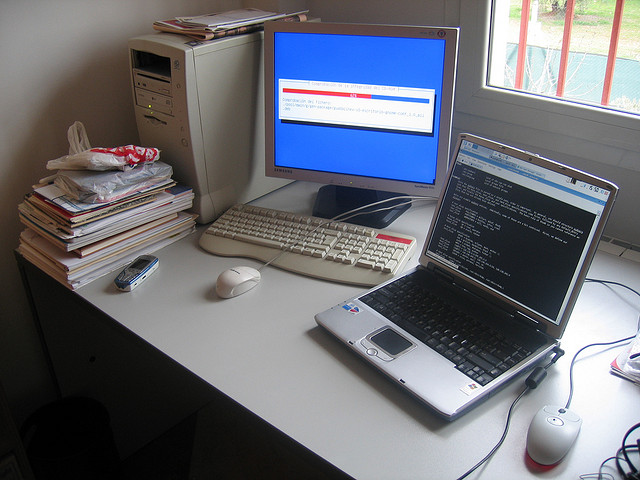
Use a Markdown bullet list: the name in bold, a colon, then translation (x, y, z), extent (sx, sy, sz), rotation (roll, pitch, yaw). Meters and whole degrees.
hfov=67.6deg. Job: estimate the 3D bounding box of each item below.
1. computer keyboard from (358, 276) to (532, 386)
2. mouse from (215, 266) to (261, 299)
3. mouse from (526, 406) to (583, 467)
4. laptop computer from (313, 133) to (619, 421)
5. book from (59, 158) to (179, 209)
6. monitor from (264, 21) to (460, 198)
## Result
- **computer keyboard**: translation (0.277, 0.192, 0.986), extent (0.157, 0.023, 0.311), rotation (-23, 40, -36)
- **mouse**: translation (-0.197, 0.097, 1.151), extent (0.064, 0.031, 0.095), rotation (31, 49, 32)
- **mouse**: translation (0.393, 0.319, 0.849), extent (0.110, 0.069, 0.125), rotation (6, 26, 18)
- **laptop computer**: translation (0.289, 0.051, 0.962), extent (0.422, 0.377, 0.391), rotation (-24, 41, -37)
- **book**: translation (-0.557, -0.146, 1.302), extent (0.221, 0.053, 0.238), rotation (0, 18, 38)
- **monitor**: translation (0.094, -0.367, 1.323), extent (0.538, 0.422, 0.038), rotation (8, 22, 16)
